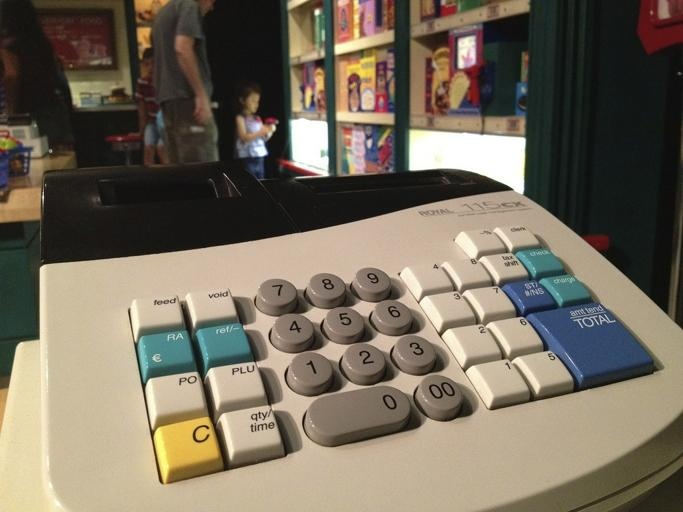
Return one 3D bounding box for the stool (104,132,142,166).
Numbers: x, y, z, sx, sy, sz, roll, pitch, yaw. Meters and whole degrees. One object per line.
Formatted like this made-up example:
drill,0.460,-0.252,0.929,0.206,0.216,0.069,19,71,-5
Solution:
stool,-0.959,-0.503,2.286,0.153,0.186,0.178,-1,23,-6
